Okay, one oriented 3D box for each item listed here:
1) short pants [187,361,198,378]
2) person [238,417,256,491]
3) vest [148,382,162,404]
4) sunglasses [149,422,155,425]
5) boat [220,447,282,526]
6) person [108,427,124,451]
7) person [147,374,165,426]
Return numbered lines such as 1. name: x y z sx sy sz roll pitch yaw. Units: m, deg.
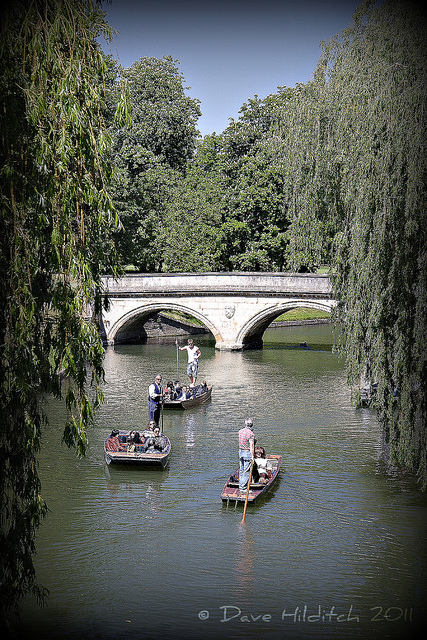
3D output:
1. short pants: -0.567 1.433 25.926 0.246 0.435 0.438 0 4 -6
2. person: 0.537 2.079 14.206 0.234 1.205 0.867 0 4 2
3. vest: -1.191 1.581 19.026 0.225 0.674 0.391 1 5 13
4. sunglasses: -1.121 1.963 17.198 0.065 0.041 0.149 3 5 34
5. boat: 0.627 2.701 14.516 0.548 0.554 3.019 1 1 10
6. person: -1.777 2.268 16.879 0.283 0.351 0.757 0 4 -6
7. person: -1.171 1.715 19.027 0.272 1.063 0.818 0 4 -3
